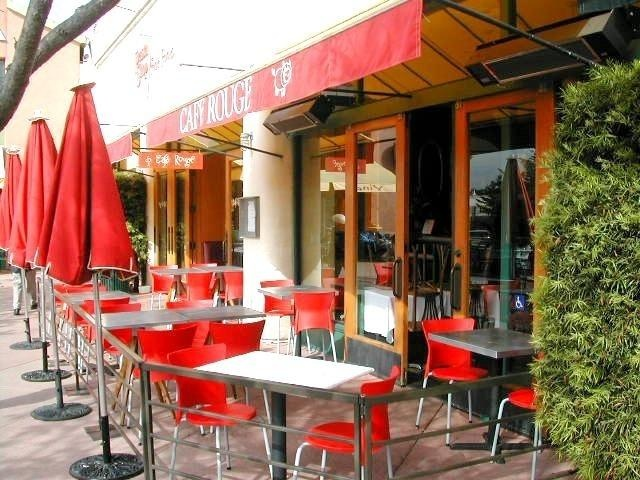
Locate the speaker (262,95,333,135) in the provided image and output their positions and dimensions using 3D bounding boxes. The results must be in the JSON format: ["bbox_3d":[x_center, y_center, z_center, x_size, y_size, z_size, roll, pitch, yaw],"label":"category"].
[{"bbox_3d":[-0.325,-1.753,8.449,0.286,0.309,1.063,20,-11,-38],"label":"speaker"}]
